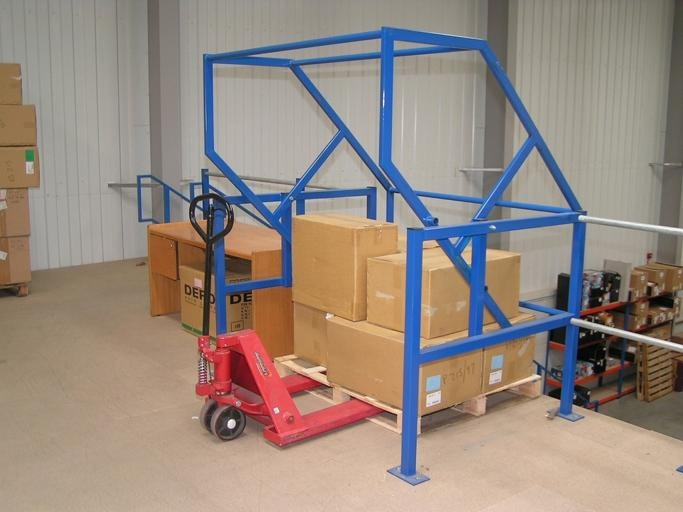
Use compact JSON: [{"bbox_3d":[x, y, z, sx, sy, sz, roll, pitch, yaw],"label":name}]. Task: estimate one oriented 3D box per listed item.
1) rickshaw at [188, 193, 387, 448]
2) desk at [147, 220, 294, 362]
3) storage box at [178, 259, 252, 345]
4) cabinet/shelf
[{"bbox_3d":[-0.385,0.359,4.498,1.359,1.651,1.426,-3,6,-21],"label":"rickshaw"},{"bbox_3d":[-1.156,0.266,6.178,1.813,1.076,0.739,14,20,41],"label":"desk"},{"bbox_3d":[-1.217,0.443,5.979,0.491,0.639,0.830,-5,9,-45],"label":"storage box"},{"bbox_3d":[3.819,1.392,8.615,1.780,1.250,0.321,-9,19,-33],"label":"cabinet/shelf"}]
